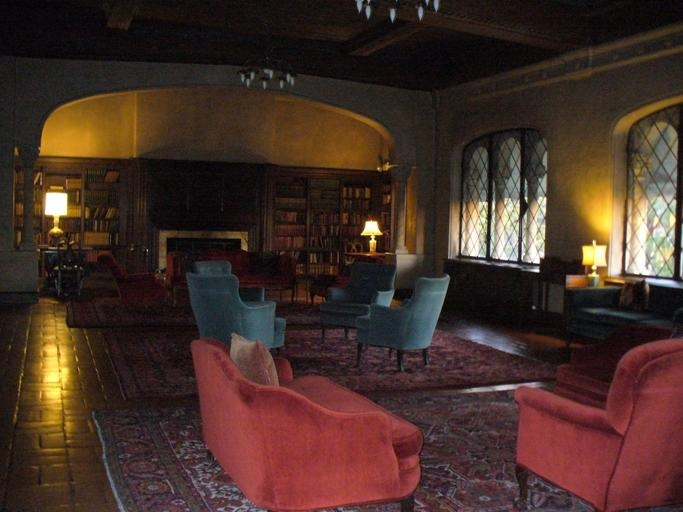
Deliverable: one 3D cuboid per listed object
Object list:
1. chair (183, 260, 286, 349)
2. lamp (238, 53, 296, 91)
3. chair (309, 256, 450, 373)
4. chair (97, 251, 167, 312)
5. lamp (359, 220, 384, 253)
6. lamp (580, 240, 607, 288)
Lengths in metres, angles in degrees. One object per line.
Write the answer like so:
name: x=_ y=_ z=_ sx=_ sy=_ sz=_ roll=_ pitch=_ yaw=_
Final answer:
chair: x=-1.194 y=0.607 z=6.208 sx=1.268 sy=1.272 sz=1.063 roll=-2 pitch=8 yaw=-30
lamp: x=-1.159 y=-2.973 z=8.274 sx=0.963 sy=0.477 sz=0.950 roll=-3 pitch=7 yaw=-32
chair: x=0.533 y=0.657 z=6.417 sx=1.111 sy=1.080 sz=1.541 roll=-1 pitch=8 yaw=-36
chair: x=-3.637 y=0.409 z=9.153 sx=1.082 sy=0.966 sz=0.778 roll=-3 pitch=7 yaw=-27
lamp: x=0.783 y=-0.463 z=13.020 sx=0.546 sy=0.758 sz=0.546 roll=-3 pitch=1 yaw=-4
lamp: x=3.729 y=0.112 z=7.721 sx=0.313 sy=0.666 sz=0.709 roll=4 pitch=5 yaw=35
